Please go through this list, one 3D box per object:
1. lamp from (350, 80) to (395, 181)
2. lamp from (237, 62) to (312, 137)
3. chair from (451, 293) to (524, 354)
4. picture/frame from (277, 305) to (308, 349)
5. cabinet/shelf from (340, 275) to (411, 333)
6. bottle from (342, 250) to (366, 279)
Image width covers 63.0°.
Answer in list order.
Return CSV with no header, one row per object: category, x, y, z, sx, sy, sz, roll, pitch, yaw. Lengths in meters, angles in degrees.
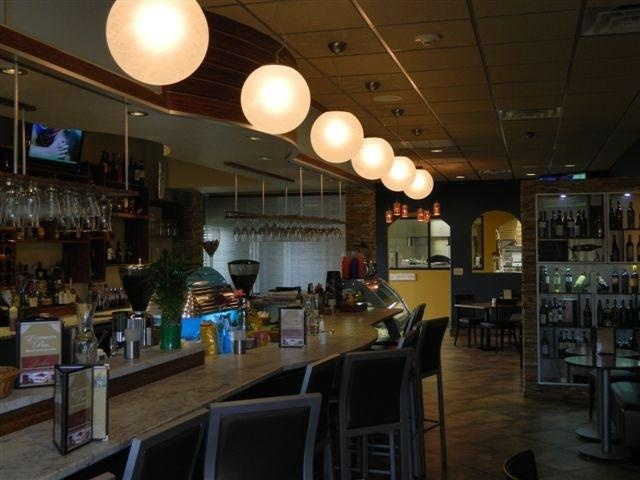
lamp,0.531,-0.819,4.937,0.402,0.394,0.461,4,-5,9
lamp,-0.285,-0.899,3.671,0.455,0.523,0.468,0,-4,45
chair,3.704,1.886,11.785,1.647,0.799,1.182,0,1,-45
picture/frame,-0.239,0.782,4.599,0.362,0.467,0.066,-1,-4,5
cabinet/shelf,0.847,1.015,7.436,0.643,0.732,1.097,-3,-3,15
bottle,0.478,0.384,7.707,0.344,0.408,0.388,0,-6,0
